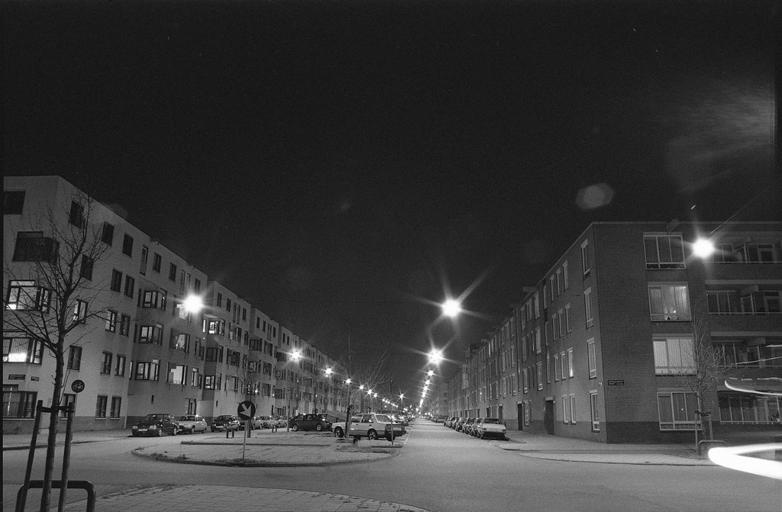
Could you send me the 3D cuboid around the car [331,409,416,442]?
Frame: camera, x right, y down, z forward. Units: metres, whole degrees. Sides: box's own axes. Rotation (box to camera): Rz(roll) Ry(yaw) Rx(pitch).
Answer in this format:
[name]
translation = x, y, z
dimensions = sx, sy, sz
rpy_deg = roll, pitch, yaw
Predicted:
[car]
translation = -1.714, 11.530, 37.060
dimensions = 4.922, 1.857, 2.855
rpy_deg = -3, -17, 21
